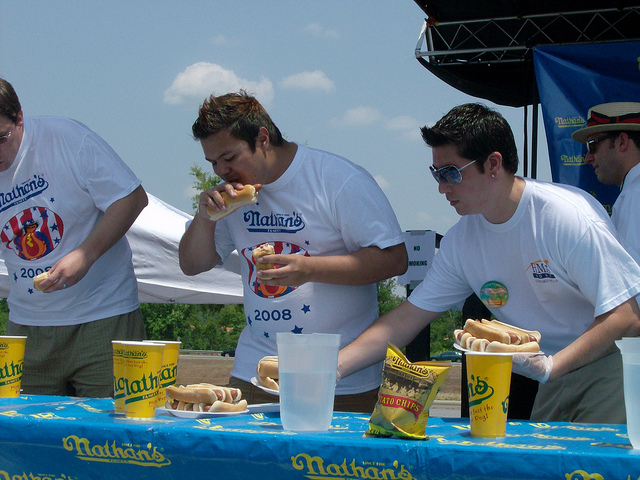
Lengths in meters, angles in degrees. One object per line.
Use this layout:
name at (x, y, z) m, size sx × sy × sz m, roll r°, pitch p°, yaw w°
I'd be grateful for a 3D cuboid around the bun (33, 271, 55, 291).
bun at (-1.554, 0.224, 4.253) m, size 0.100 × 0.096 × 0.069 m, roll -21°, pitch -18°, yaw -19°

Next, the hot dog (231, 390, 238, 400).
hot dog at (-0.383, 0.700, 3.390) m, size 0.024 × 0.035 × 0.008 m, roll -2°, pitch 0°, yaw -37°

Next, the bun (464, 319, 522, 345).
bun at (0.740, 0.390, 3.232) m, size 0.209 × 0.066 × 0.106 m, roll 27°, pitch 16°, yaw 37°

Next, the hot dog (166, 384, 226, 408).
hot dog at (-0.554, 0.691, 3.351) m, size 0.129 × 0.044 × 0.133 m, roll 9°, pitch -2°, yaw 6°

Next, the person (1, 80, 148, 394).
person at (-1.524, 0.022, 4.656) m, size 0.854 × 1.555 × 0.621 m, roll -3°, pitch 2°, yaw -14°

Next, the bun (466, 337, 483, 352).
bun at (0.648, 0.443, 3.200) m, size 0.040 × 0.042 × 0.054 m, roll -1°, pitch -14°, yaw 39°

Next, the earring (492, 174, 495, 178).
earring at (0.921, -0.337, 4.018) m, size 0.010 × 0.017 × 0.003 m, roll -2°, pitch 2°, yaw 5°

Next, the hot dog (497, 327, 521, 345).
hot dog at (0.825, 0.417, 3.260) m, size 0.066 × 0.020 × 0.048 m, roll 36°, pitch 26°, yaw 2°

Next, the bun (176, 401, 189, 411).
bun at (-0.610, 0.731, 3.344) m, size 0.031 × 0.045 × 0.043 m, roll 8°, pitch -7°, yaw 7°

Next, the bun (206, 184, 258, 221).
bun at (-0.488, -0.207, 4.342) m, size 0.286 × 0.162 × 0.105 m, roll -28°, pitch -51°, yaw 28°

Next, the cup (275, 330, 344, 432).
cup at (-0.045, 0.545, 3.176) m, size 0.298 × 0.470 × 0.272 m, roll -1°, pitch 20°, yaw 0°

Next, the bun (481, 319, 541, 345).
bun at (0.855, 0.396, 3.321) m, size 0.163 × 0.052 × 0.164 m, roll 13°, pitch 7°, yaw 38°

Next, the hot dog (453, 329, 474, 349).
hot dog at (0.622, 0.431, 3.269) m, size 0.081 × 0.035 × 0.088 m, roll 9°, pitch 6°, yaw 10°

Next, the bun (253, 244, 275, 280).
bun at (-0.311, 0.114, 4.109) m, size 0.124 × 0.171 × 0.055 m, roll 1°, pitch -2°, yaw 21°
